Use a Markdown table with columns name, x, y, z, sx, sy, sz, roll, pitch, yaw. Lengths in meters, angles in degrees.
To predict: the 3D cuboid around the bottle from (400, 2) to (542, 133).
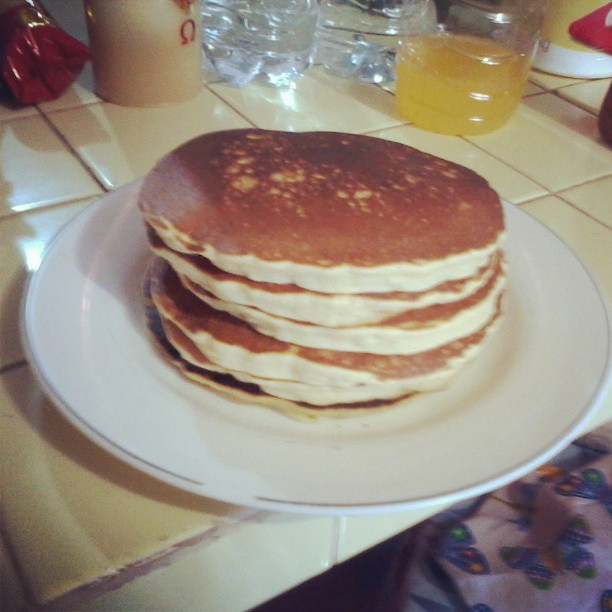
| name | x | y | z | sx | sy | sz | roll | pitch | yaw |
| --- | --- | --- | --- | --- | --- | --- | --- | --- | --- |
| bottle | 0.213 | -0.405 | 1.253 | 0.288 | 0.230 | 0.233 | -5 | 36 | -6 |

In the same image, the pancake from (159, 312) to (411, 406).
| name | x | y | z | sx | sy | sz | roll | pitch | yaw |
| --- | --- | --- | --- | --- | --- | --- | --- | --- | --- |
| pancake | -0.023 | 0.052 | 0.662 | 0.147 | 0.017 | 0.104 | 3 | 14 | -23 |

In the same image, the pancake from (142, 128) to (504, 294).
| name | x | y | z | sx | sy | sz | roll | pitch | yaw |
| --- | --- | --- | --- | --- | --- | --- | --- | --- | --- |
| pancake | 0.015 | -0.081 | 0.654 | 0.198 | 0.048 | 0.273 | 29 | 28 | 35 |

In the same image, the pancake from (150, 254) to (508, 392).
| name | x | y | z | sx | sy | sz | roll | pitch | yaw |
| --- | --- | --- | --- | --- | --- | --- | --- | --- | --- |
| pancake | 0.038 | 0.056 | 0.684 | 0.222 | 0.224 | 0.027 | 21 | 63 | -33 |

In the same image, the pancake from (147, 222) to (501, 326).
| name | x | y | z | sx | sy | sz | roll | pitch | yaw |
| --- | --- | --- | --- | --- | --- | --- | --- | --- | --- |
| pancake | 0.005 | -0.023 | 0.656 | 0.210 | 0.027 | 0.230 | 8 | -5 | 35 |
